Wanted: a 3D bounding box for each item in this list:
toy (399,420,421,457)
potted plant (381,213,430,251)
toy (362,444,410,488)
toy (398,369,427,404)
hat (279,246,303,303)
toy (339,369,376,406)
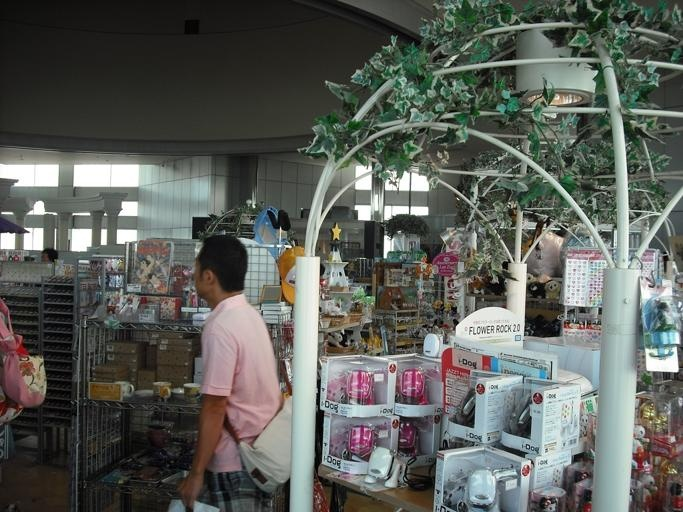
[{"bbox_3d":[0.359,0.988,2.911,0.131,0.166,0.173,0,-13,11],"label":"toy"},{"bbox_3d":[1.739,-0.595,14.316,1.320,1.146,1.269,-4,-9,27],"label":"potted plant"},{"bbox_3d":[0.226,1.110,2.815,0.183,0.178,0.208,-6,-23,40],"label":"toy"},{"bbox_3d":[0.393,0.694,2.959,0.163,0.070,0.232,-1,34,13],"label":"toy"},{"bbox_3d":[-0.455,0.129,4.405,0.281,0.476,0.130,-13,-21,41],"label":"hat"},{"bbox_3d":[0.094,0.681,2.881,0.147,0.070,0.187,6,32,2],"label":"toy"}]
